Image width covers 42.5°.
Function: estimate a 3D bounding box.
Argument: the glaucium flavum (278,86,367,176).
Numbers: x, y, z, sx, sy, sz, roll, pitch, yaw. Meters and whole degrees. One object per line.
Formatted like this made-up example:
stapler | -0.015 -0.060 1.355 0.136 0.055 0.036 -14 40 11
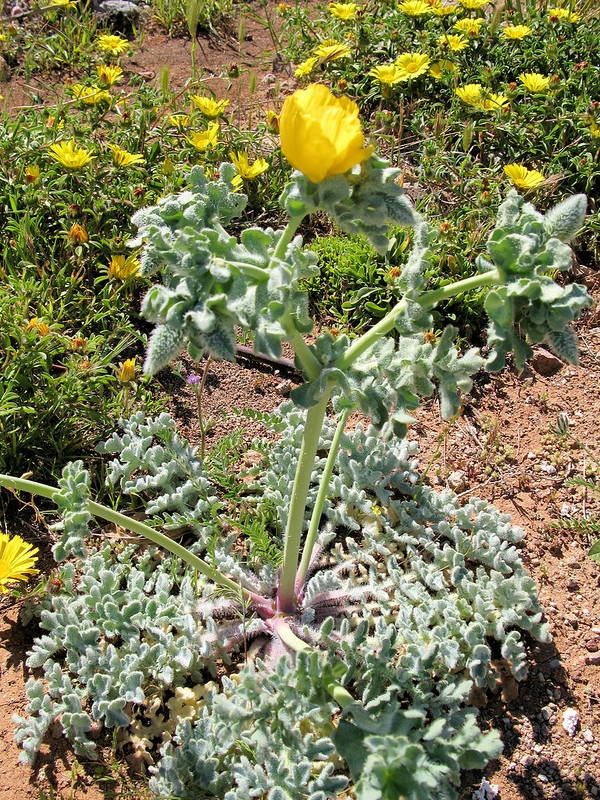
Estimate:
glaucium flavum | 0.052 -0.465 1.335 0.153 0.145 0.173 2 40 4
